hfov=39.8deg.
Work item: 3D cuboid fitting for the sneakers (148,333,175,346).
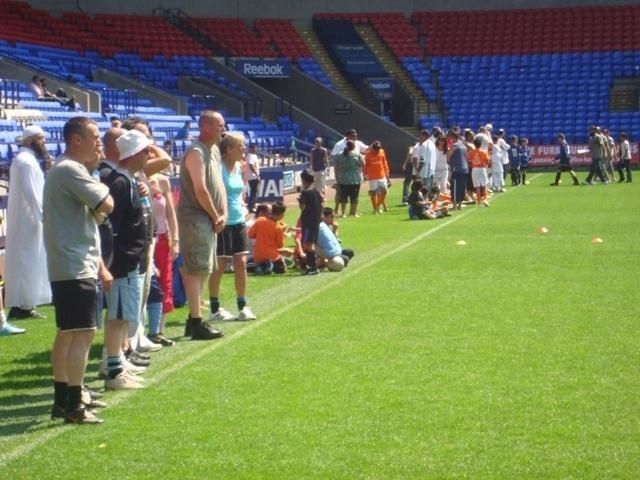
[{"bbox_3d":[-1.739,1.090,9.713,0.277,0.129,0.115,10,6,-20],"label":"sneakers"}]

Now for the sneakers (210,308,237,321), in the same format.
[{"bbox_3d":[-1.136,0.879,10.492,0.312,0.144,0.123,-3,5,-27],"label":"sneakers"}]

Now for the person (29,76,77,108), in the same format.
[{"bbox_3d":[-7.773,-4.279,25.572,1.177,0.904,1.479,-5,15,-19],"label":"person"}]

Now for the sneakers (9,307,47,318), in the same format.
[{"bbox_3d":[-3.590,0.887,10.962,0.469,0.208,0.158,1,3,-6],"label":"sneakers"}]

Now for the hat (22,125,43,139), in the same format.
[{"bbox_3d":[-3.474,-1.308,10.660,0.199,0.132,0.199,-6,13,-16],"label":"hat"}]

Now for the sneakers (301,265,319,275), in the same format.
[{"bbox_3d":[-0.172,0.440,13.097,0.286,0.135,0.100,6,8,25],"label":"sneakers"}]

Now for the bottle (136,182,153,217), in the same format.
[{"bbox_3d":[-1.737,-0.409,8.751,0.120,0.370,0.376,-3,14,-10],"label":"bottle"}]
